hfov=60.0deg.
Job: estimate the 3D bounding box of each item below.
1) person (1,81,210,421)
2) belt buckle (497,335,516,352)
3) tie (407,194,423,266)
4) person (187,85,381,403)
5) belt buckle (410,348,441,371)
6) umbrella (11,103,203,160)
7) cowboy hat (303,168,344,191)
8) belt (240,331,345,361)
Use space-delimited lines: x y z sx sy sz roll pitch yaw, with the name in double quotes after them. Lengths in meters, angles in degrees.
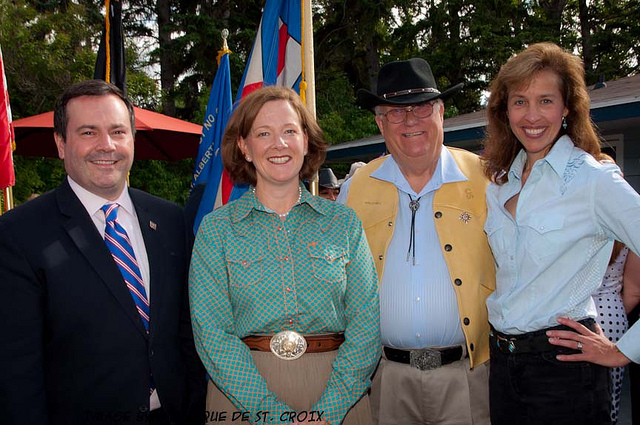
-1.555 0.323 4.003 1.290 2.584 0.537 -5 1 -16 "person"
1.330 0.936 3.952 0.066 0.091 0.043 8 11 40 "belt buckle"
0.778 0.112 4.580 0.149 0.653 0.027 3 -7 -15 "tie"
-0.270 0.204 3.961 1.314 2.215 0.645 -5 1 -15 "person"
0.828 1.149 4.331 0.163 0.142 0.023 0 3 5 "belt buckle"
-2.684 -1.126 8.101 1.961 0.791 1.873 -1 -1 5 "umbrella"
0.154 -0.562 9.412 0.505 0.216 0.552 -1 -7 -7 "cowboy hat"
-0.013 0.905 3.988 0.313 0.107 0.315 -8 3 26 "belt"
